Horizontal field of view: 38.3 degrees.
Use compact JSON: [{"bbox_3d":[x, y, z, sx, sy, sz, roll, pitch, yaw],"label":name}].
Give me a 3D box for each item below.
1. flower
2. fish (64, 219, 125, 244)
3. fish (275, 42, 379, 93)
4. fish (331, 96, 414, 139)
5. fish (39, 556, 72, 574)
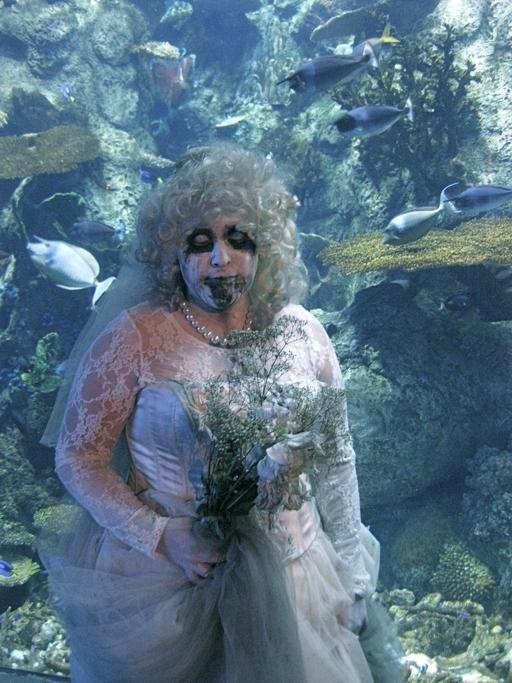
[{"bbox_3d":[-0.013,0.634,3.768,1.096,1.253,0.450,21,-19,9],"label":"flower"},{"bbox_3d":[-1.921,-1.291,8.823,0.694,0.156,0.338,5,38,-5],"label":"fish"},{"bbox_3d":[0.617,-2.294,6.263,0.694,0.297,0.296,-5,10,-1],"label":"fish"},{"bbox_3d":[0.932,-2.021,6.537,1.106,0.305,0.345,-4,5,-4],"label":"fish"},{"bbox_3d":[-1.070,1.197,3.942,0.102,0.043,0.138,40,39,28],"label":"fish"}]
